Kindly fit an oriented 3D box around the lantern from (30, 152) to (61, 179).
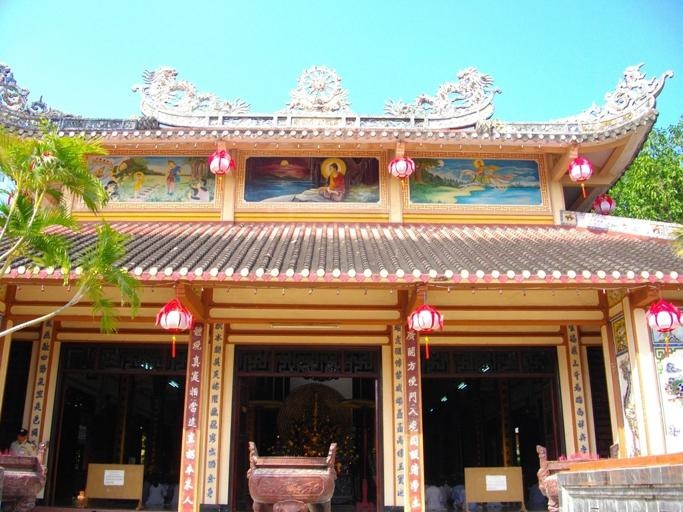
[{"bbox_3d":[-3.251,-0.993,6.063,0.270,0.270,0.232,-30,-7,-39],"label":"lantern"}]
